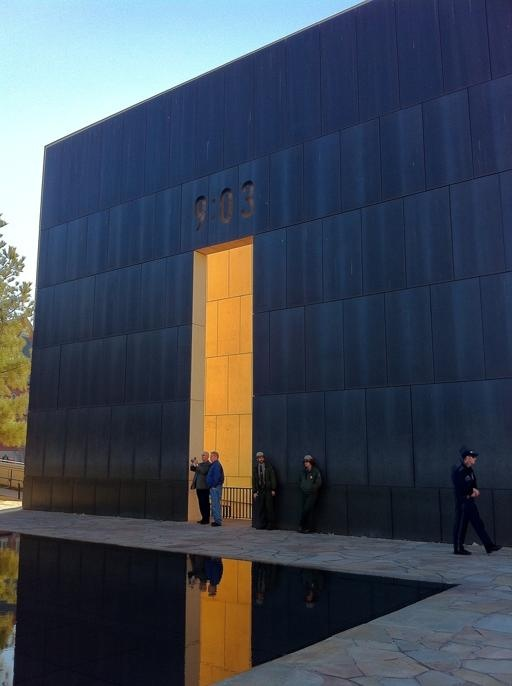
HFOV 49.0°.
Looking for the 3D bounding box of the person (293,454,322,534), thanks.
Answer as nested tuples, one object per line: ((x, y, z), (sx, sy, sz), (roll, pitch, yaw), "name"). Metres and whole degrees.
((1.378, 3.829, 14.239), (0.533, 1.864, 0.872), (3, -12, -17), "person")

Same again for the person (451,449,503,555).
((3.901, 2.902, 10.288), (0.599, 1.878, 1.056), (-5, -13, 24), "person")

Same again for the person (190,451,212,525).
((-1.547, 4.026, 16.195), (0.589, 2.153, 0.581), (-5, 15, -21), "person")

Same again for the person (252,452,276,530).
((0.202, 3.969, 15.063), (0.794, 1.973, 0.662), (-6, -13, 25), "person")
